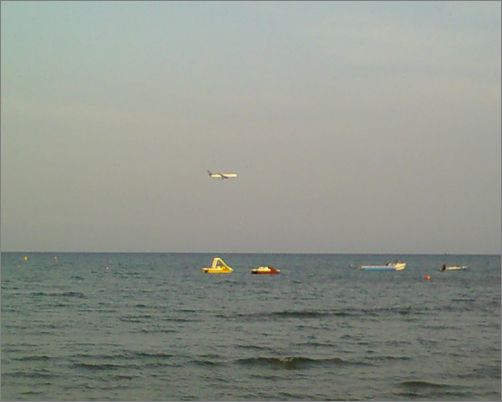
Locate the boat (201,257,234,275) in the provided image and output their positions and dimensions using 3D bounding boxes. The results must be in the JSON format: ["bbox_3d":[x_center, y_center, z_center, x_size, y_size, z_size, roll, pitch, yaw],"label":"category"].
[{"bbox_3d":[-6.749,13.411,244.587,4.079,2.608,4.130,0,-2,-29],"label":"boat"}]

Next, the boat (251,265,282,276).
[{"bbox_3d":[2.418,13.981,245.775,4.420,1.361,2.312,-1,-1,1],"label":"boat"}]
